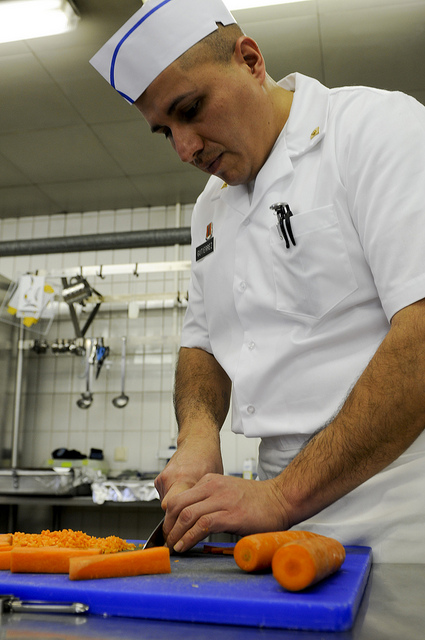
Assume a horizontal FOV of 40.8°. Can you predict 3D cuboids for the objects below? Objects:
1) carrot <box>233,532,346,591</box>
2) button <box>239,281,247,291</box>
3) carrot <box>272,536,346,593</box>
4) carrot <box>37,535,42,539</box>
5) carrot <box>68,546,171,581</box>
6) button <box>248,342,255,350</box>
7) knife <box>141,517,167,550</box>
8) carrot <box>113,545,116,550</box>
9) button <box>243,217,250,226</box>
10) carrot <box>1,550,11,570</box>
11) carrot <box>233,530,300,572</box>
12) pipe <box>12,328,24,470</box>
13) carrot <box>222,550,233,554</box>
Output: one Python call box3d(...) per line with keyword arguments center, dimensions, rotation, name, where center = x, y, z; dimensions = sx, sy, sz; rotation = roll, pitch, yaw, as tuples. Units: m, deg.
box3d(center=(0.087, 0.245, 0.634), dimensions=(0.074, 0.037, 0.129), rotation=(0, -10, 26), name="carrot")
box3d(center=(0.060, -0.066, 1.119), dimensions=(0.006, 0.019, 0.023), rotation=(4, -5, -33), name="button")
box3d(center=(0.118, 0.270, 0.647), dimensions=(0.050, 0.050, 0.170), rotation=(-2, -14, 26), name="carrot")
box3d(center=(-0.263, 0.331, 0.869), dimensions=(0.002, 0.006, 0.007), rotation=(-35, -28, 4), name="carrot")
box3d(center=(-0.114, 0.304, 0.710), dimensions=(0.127, 0.037, 0.064), rotation=(2, -4, -14), name="carrot")
box3d(center=(0.075, 0.050, 1.091), dimensions=(0.003, 0.013, 0.014), rotation=(5, -5, -38), name="button")
box3d(center=(-0.094, 0.369, 0.971), dimensions=(0.024, 0.049, 0.066), rotation=(1, -4, 14), name="knife")
box3d(center=(-0.155, 0.361, 0.904), dimensions=(0.007, 0.007, 0.003), rotation=(-4, -18, 30), name="carrot")
box3d(center=(0.067, -0.197, 1.143), dimensions=(0.010, 0.014, 0.017), rotation=(5, -5, -36), name="button")
box3d(center=(-0.285, 0.331, 0.790), dimensions=(0.022, 0.021, 0.022), rotation=(1, -9, -20), name="carrot")
box3d(center=(0.063, 0.270, 0.684), dimensions=(0.033, 0.032, 0.114), rotation=(-3, -8, 40), name="carrot")
box3d(center=(-1.384, 0.552, 4.058), dimensions=(0.042, 0.971, 0.204), rotation=(3, -4, -18), name="pipe")
box3d(center=(0.026, 0.396, 0.971), dimensions=(0.012, 0.003, 0.011), rotation=(-3, -7, 26), name="carrot")
